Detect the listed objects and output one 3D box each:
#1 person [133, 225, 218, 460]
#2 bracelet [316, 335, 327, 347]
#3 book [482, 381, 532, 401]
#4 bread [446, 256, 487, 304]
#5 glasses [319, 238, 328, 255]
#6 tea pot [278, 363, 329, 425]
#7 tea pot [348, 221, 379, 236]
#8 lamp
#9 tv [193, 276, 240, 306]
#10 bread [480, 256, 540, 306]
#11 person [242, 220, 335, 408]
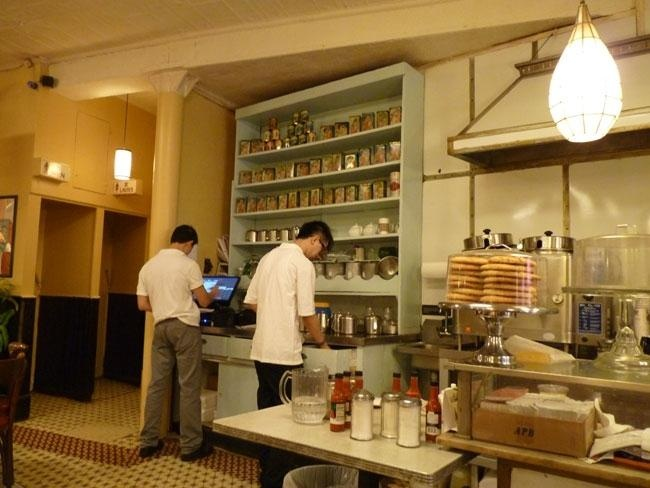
[{"bbox_3d":[-1.278,0.817,4.538,0.645,1.943,0.381,0,-1,10],"label":"person"},{"bbox_3d":[-0.029,0.732,4.056,0.082,0.037,0.111,9,-27,20],"label":"bracelet"},{"bbox_3d":[0.893,0.737,2.638,0.136,0.033,0.235,-2,-1,29],"label":"book"},{"bbox_3d":[0.647,0.176,2.632,0.204,0.231,0.215,1,-5,-5],"label":"bread"},{"bbox_3d":[-0.003,0.027,4.138,0.113,0.118,0.036,1,-10,27],"label":"glasses"},{"bbox_3d":[-0.113,0.816,2.913,0.315,0.305,0.208,0,-4,-7],"label":"tea pot"},{"bbox_3d":[0.371,-0.116,4.941,0.272,0.111,0.162,0,-1,39],"label":"tea pot"},{"bbox_3d":[1.520,-0.998,3.106,0.378,0.769,0.231,0,-1,27],"label":"lamp"},{"bbox_3d":[-1.022,0.435,4.920,0.405,0.249,0.054,13,-35,34],"label":"tv"},{"bbox_3d":[0.893,0.175,2.558,0.243,0.229,0.247,0,-1,17],"label":"bread"},{"bbox_3d":[-0.300,0.752,4.180,0.722,1.799,0.613,7,12,22],"label":"person"}]
